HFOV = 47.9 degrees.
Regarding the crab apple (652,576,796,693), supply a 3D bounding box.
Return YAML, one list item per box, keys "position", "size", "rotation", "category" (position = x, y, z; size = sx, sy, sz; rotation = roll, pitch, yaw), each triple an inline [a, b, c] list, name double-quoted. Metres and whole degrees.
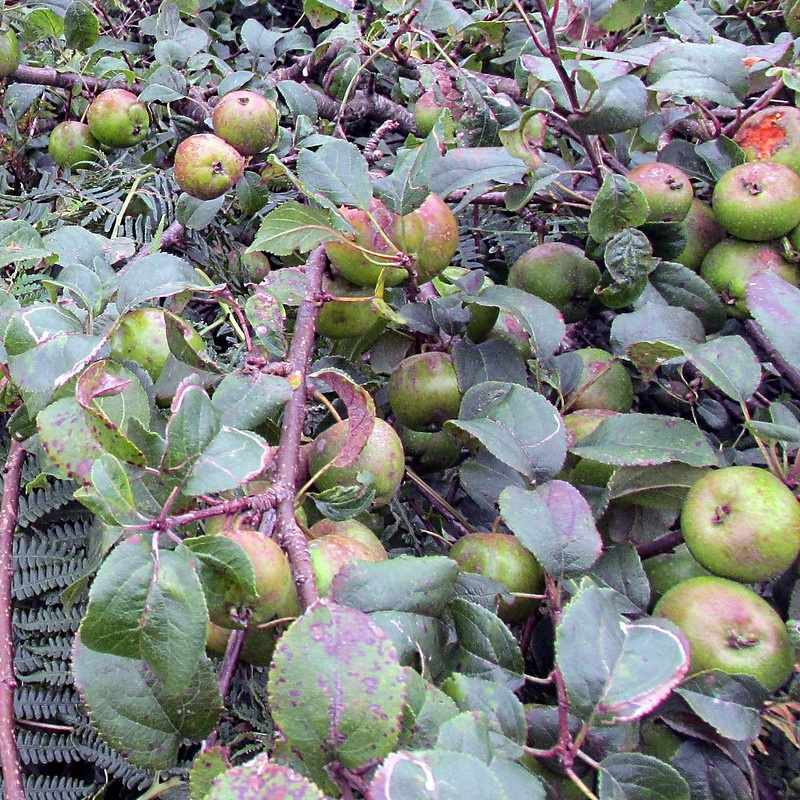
- position: [0.422, 0.315, 1.263]
  size: [0.176, 0.148, 0.151]
  rotation: [9, 44, -5]
  category: "crab apple"
